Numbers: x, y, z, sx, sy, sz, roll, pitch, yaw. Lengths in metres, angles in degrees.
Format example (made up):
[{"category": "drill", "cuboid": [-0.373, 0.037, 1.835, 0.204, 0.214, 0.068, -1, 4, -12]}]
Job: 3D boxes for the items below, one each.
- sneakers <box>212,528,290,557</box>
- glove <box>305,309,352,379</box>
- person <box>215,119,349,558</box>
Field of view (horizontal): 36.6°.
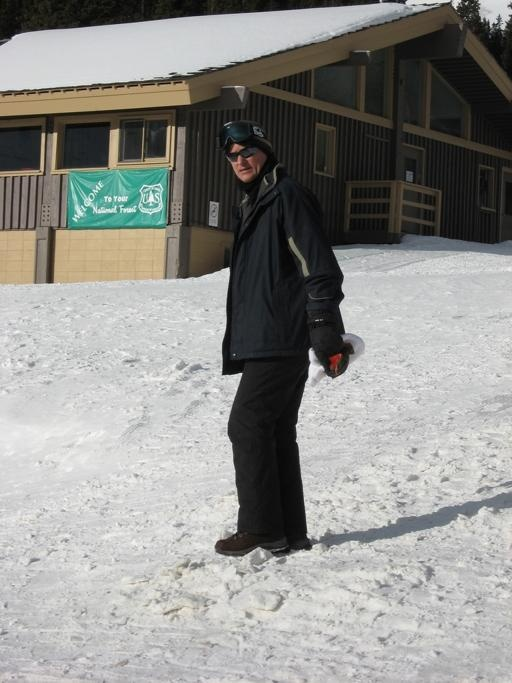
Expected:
[{"category": "sneakers", "cuboid": [-0.028, 0.817, 3.109, 0.280, 0.114, 0.109, 3, -3, 6]}, {"category": "glove", "cuboid": [0.271, 0.005, 2.893, 0.121, 0.230, 0.191, -24, 9, -30]}, {"category": "person", "cuboid": [0.121, 0.065, 3.106, 0.626, 1.581, 0.435, -3, 7, 26]}]
